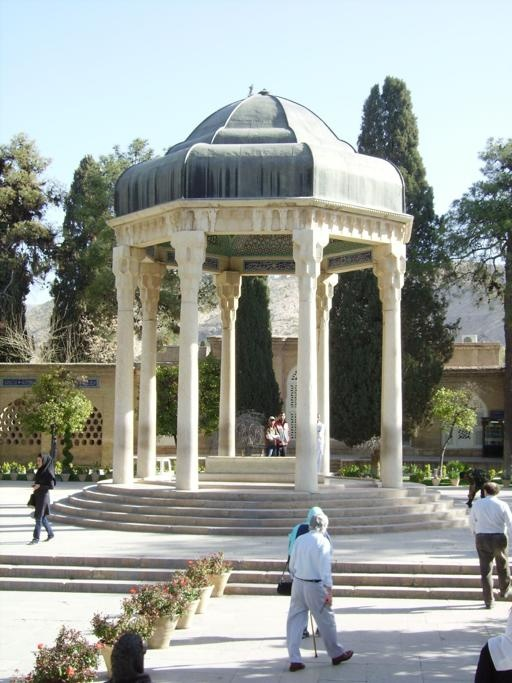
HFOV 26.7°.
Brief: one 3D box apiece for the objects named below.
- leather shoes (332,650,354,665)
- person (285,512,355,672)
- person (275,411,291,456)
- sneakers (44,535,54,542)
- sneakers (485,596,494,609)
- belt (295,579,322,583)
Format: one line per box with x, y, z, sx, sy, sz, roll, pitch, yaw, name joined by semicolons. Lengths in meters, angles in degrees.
0.733;2.700;9.219;0.184;0.093;0.062;-30;24;-26;leather shoes
0.573;2.150;9.322;0.519;1.376;0.453;1;-3;4;person
0.544;2.004;21.764;0.334;1.143;0.309;-6;13;-23;person
-2.767;2.617;14.440;0.117;0.072;0.374;-1;-2;-9;sneakers
2.433;2.734;11.261;0.051;0.074;0.164;1;0;13;sneakers
0.450;2.047;9.230;0.214;0.029;0.052;-1;-2;14;belt
